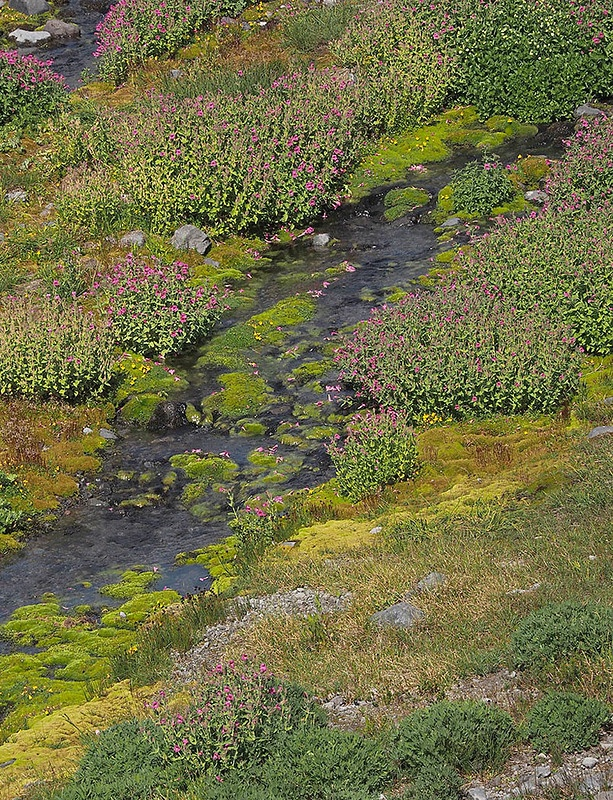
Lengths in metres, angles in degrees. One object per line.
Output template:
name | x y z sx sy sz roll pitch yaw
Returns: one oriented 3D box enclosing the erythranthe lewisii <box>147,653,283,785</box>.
erythranthe lewisii | -0.768 2.921 13.111 0.931 0.491 1.170 17 54 30
